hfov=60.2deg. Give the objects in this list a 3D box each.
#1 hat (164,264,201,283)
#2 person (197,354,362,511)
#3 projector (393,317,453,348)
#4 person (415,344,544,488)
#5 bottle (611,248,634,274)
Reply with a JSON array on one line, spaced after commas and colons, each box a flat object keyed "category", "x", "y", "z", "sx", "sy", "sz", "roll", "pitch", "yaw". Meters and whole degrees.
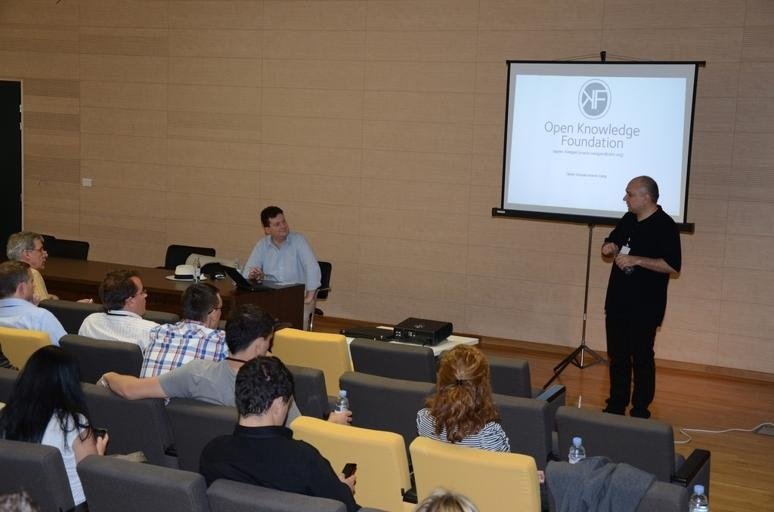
[{"category": "hat", "x": -2.136, "y": 0.194, "z": 7.066, "sx": 0.228, "sy": 0.079, "sz": 0.222, "roll": 10, "pitch": 9, "yaw": 32}, {"category": "person", "x": -0.589, "y": 0.958, "z": 3.533, "sx": 0.552, "sy": 0.979, "sz": 0.536, "roll": 9, "pitch": 26, "yaw": 17}, {"category": "projector", "x": 0.290, "y": 0.659, "z": 5.802, "sx": 0.278, "sy": 0.103, "sz": 0.283, "roll": 6, "pitch": 9, "yaw": 24}, {"category": "person", "x": 0.528, "y": 1.241, "z": 4.179, "sx": 0.647, "sy": 1.467, "sz": 0.487, "roll": 5, "pitch": 34, "yaw": 19}, {"category": "bottle", "x": 2.197, "y": 0.070, "z": 6.190, "sx": 0.087, "sy": 0.248, "sz": 0.179, "roll": -6, "pitch": 19, "yaw": -22}]
